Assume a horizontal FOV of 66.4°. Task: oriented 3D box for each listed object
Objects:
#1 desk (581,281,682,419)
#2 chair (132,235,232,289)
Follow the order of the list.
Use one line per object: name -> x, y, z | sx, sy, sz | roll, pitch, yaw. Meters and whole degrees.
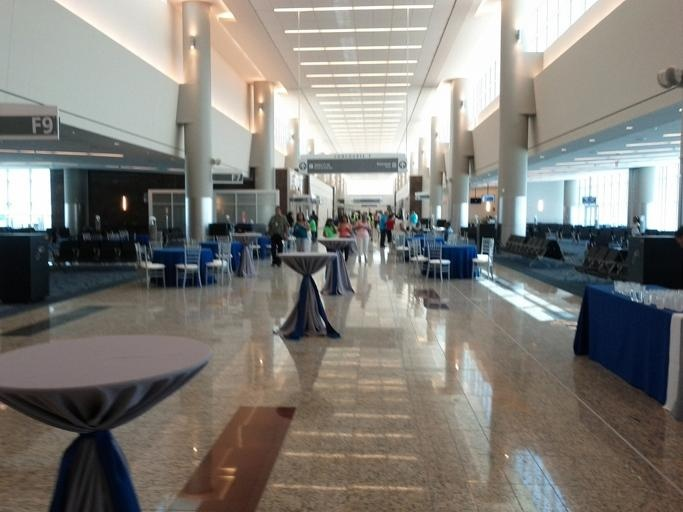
desk -> 3.153, 0.914, 5.765 | 0.611, 0.927, 1.515 | -3, 11, -10
chair -> -3.745, 0.257, 12.496 | 1.314, 0.802, 1.518 | 0, 2, -4
